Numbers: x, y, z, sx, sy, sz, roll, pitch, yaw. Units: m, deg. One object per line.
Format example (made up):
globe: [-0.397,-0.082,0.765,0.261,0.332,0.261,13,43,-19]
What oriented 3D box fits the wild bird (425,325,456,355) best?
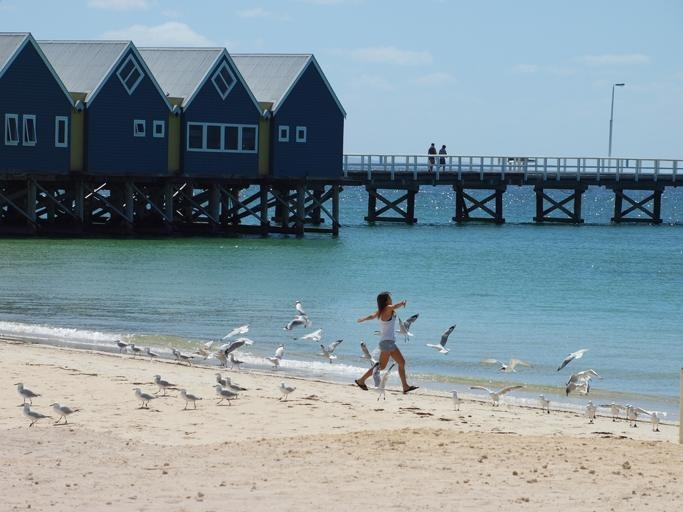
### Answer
wild bird: [2.258,1.930,37.372,0.588,0.263,0.929,2,-37,-25]

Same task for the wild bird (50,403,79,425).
wild bird: [-5.009,2.736,29.043,0.506,0.333,0.758,2,6,-8]

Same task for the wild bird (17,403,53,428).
wild bird: [-5.477,2.754,28.881,0.510,0.344,0.854,1,6,-13]
